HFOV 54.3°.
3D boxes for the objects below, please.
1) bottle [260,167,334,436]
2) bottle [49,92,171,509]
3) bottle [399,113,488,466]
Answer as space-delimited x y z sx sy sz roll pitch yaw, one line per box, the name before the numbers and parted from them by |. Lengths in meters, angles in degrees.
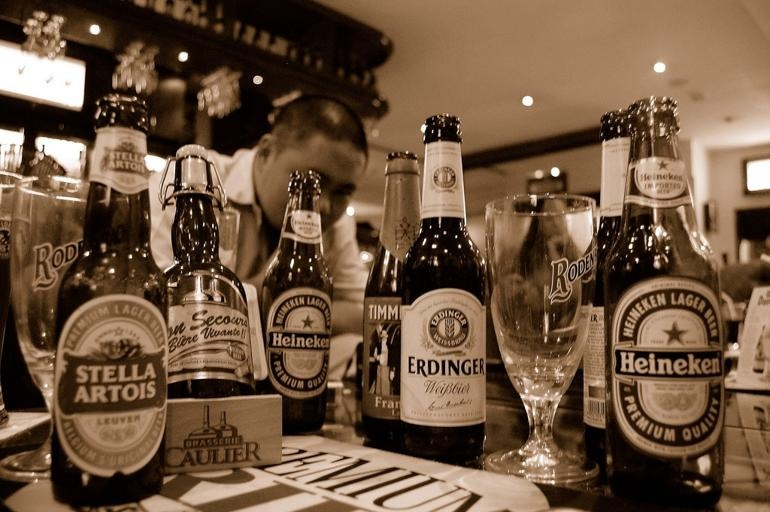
bottle | -0.189 0.086 1.579 0.148 0.532 0.217 0 4 -10
bottle | -0.462 0.065 1.248 0.187 0.674 0.112 -1 5 -21
bottle | 0.110 0.056 1.406 0.156 0.641 0.126 1 4 2
